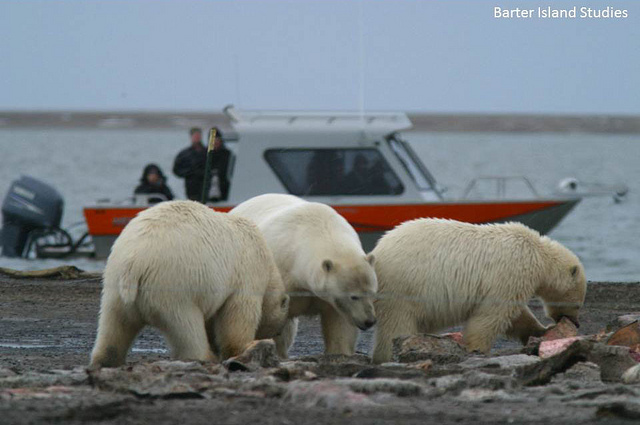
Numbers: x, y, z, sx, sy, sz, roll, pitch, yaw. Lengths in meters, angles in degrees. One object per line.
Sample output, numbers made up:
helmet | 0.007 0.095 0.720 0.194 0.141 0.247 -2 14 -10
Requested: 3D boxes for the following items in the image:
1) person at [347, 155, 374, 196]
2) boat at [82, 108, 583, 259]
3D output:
person | 0.864 -0.837 29.464 0.576 0.846 0.206 -23 3 4
boat | 0.686 0.084 30.085 12.754 4.096 2.997 -1 -19 21
